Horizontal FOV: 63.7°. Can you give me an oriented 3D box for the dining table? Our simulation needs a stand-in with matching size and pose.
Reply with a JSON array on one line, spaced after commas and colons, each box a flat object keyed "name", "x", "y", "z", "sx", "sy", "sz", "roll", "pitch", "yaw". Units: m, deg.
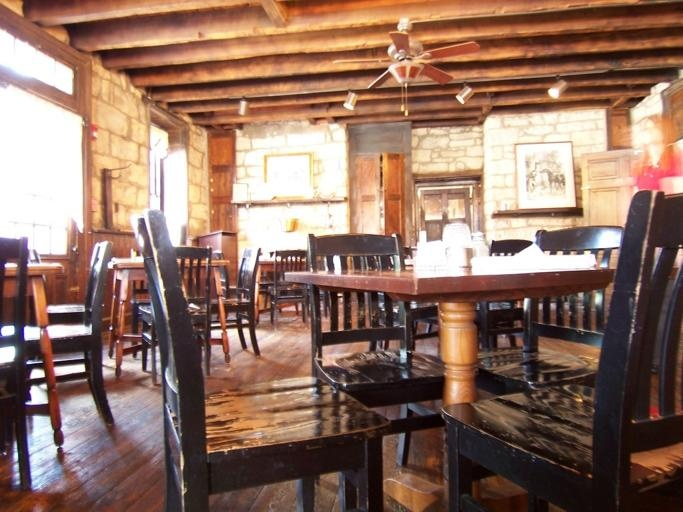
[{"name": "dining table", "x": 0.416, "y": 0.369, "z": 2.506, "sx": 1.077, "sy": 0.744, "sz": 1.026, "roll": -2, "pitch": 2, "yaw": -23}]

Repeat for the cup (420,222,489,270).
[{"name": "cup", "x": 0.517, "y": -0.033, "z": 2.602, "sx": 0.277, "sy": 0.168, "sz": 0.268, "roll": -2, "pitch": 4, "yaw": 0}]

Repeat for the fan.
[{"name": "fan", "x": 0.687, "y": -2.057, "z": 5.505, "sx": 0.926, "sy": 0.629, "sz": 1.660, "roll": -1, "pitch": 12, "yaw": -4}]
